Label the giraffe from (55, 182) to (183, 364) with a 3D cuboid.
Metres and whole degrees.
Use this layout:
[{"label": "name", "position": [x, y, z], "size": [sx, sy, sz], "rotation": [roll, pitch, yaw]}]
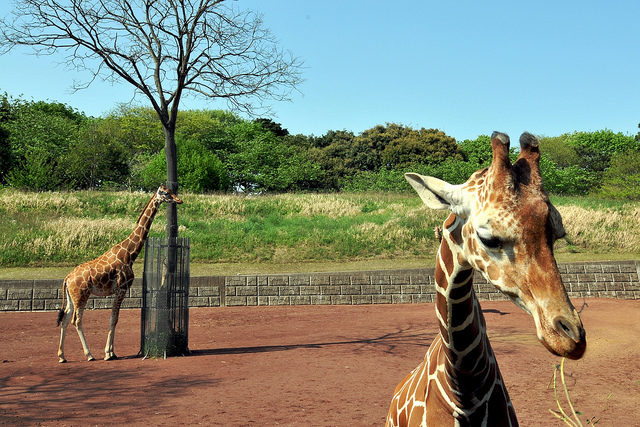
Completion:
[{"label": "giraffe", "position": [-6.677, 1.717, 19.821], "size": [3.167, 5.250, 4.312], "rotation": [-4, 10, -24]}]
